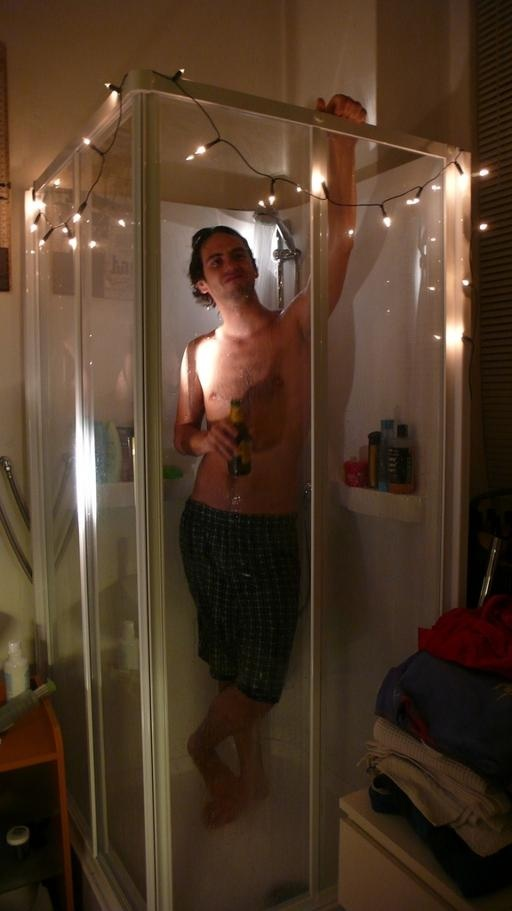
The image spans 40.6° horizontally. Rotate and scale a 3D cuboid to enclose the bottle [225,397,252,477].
[{"bbox_3d":[-0.033,-0.035,1.404,0.047,0.151,0.009,-4,5,-35],"label":"bottle"}]
